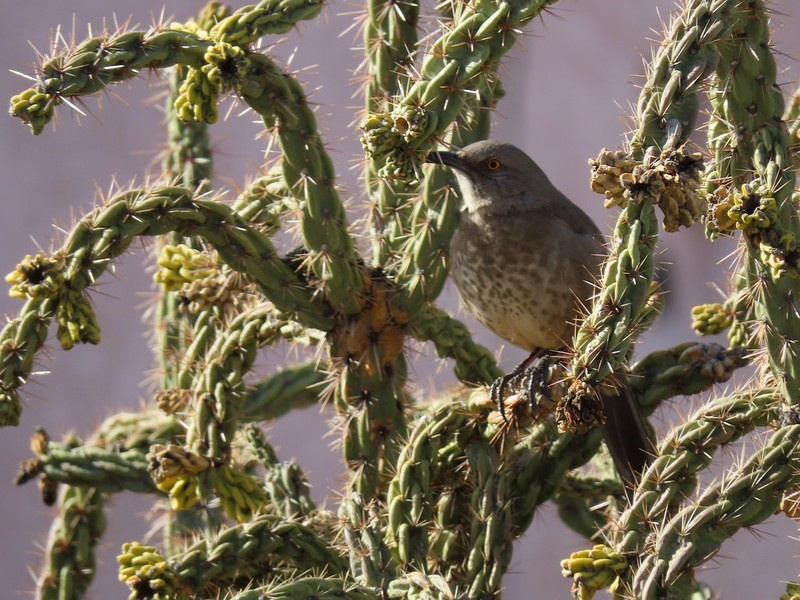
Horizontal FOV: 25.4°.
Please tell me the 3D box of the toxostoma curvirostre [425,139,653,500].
[{"bbox_3d":[0.438,0.004,5.347,0.875,0.865,0.423,16,-24,-42],"label":"toxostoma curvirostre"}]
